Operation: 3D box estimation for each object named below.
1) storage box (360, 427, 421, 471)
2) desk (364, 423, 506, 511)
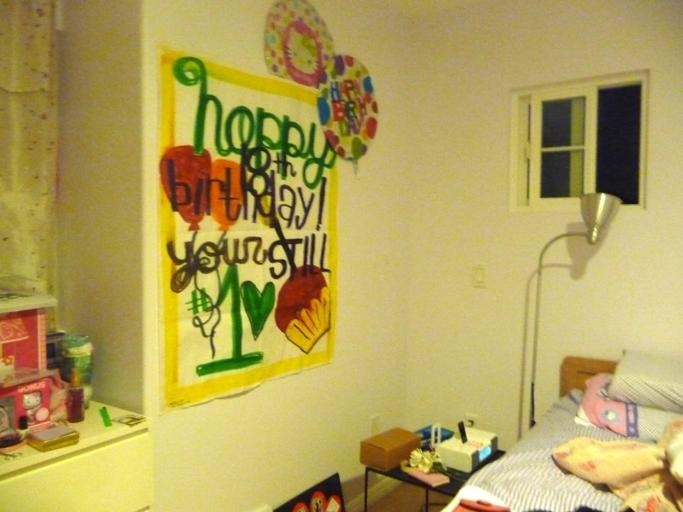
[{"bbox_3d":[0.224,0.938,3.028,0.173,0.128,0.259,1,5,39],"label":"storage box"},{"bbox_3d":[0.469,1.061,2.942,0.498,0.396,0.338,6,10,44],"label":"desk"}]
